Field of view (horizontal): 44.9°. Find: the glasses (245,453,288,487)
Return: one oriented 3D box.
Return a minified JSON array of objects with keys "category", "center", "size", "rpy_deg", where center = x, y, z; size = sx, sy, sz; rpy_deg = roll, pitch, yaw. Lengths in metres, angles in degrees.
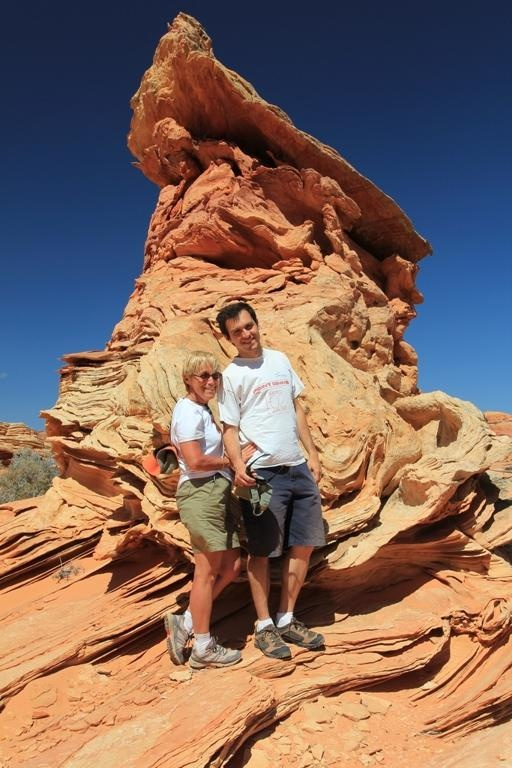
[{"category":"glasses","center":[0.091,0.649,4.442],"size":[0.197,0.251,0.102],"rpy_deg":[-2,23,10]}]

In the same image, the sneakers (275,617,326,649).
[{"category":"sneakers","center":[0.314,1.818,4.567],"size":[0.389,0.176,0.169],"rpy_deg":[13,2,17]}]

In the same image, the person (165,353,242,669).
[{"category":"person","center":[-0.392,0.886,4.510],"size":[0.545,2.231,0.623],"rpy_deg":[0,-13,-6]}]

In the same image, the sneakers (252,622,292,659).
[{"category":"sneakers","center":[0.105,1.829,4.374],"size":[0.148,0.149,0.315],"rpy_deg":[11,-17,-29]}]

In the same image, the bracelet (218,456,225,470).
[{"category":"bracelet","center":[-0.247,0.561,4.399],"size":[0.019,0.071,0.054],"rpy_deg":[1,-10,22]}]

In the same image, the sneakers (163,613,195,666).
[{"category":"sneakers","center":[-0.561,1.836,4.535],"size":[0.227,0.421,0.146],"rpy_deg":[-4,-13,-13]}]
